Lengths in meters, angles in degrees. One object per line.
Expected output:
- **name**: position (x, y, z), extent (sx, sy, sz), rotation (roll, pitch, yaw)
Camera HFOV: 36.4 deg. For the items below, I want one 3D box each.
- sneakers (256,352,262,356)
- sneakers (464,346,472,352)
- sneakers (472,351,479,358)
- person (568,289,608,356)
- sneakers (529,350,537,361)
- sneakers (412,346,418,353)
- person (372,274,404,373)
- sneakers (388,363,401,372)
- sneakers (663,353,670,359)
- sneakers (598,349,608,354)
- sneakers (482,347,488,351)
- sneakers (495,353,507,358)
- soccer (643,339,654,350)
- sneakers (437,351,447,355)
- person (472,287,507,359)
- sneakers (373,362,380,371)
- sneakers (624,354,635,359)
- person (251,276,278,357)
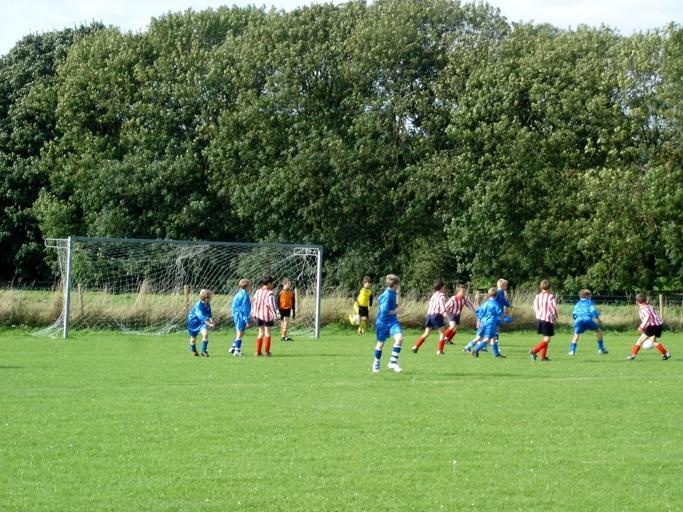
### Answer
- **sneakers**: position (-2.282, 2.779, 29.216), extent (0.191, 0.120, 0.264), rotation (4, -6, -7)
- **sneakers**: position (3.722, 2.751, 30.501), extent (0.154, 0.126, 0.275), rotation (0, -6, 3)
- **sneakers**: position (3.836, 2.832, 29.641), extent (0.118, 0.201, 0.187), rotation (2, -9, -5)
- **person**: position (7.073, 1.922, 29.998), extent (0.910, 2.053, 0.766), rotation (-5, -24, 18)
- **sneakers**: position (5.380, 2.806, 29.186), extent (0.217, 0.343, 0.164), rotation (-9, 2, 28)
- **sneakers**: position (2.123, 2.737, 30.142), extent (0.123, 0.187, 0.176), rotation (0, 3, 33)
- **person**: position (1.317, 2.004, 29.139), extent (1.067, 3.179, 1.175), rotation (-4, 24, -1)
- **sneakers**: position (1.341, 2.849, 26.279), extent (0.147, 0.199, 0.384), rotation (-2, 5, -43)
- **sneakers**: position (9.336, 2.886, 29.856), extent (0.140, 0.186, 0.413), rotation (-13, -16, 10)
- **sneakers**: position (7.809, 2.870, 30.947), extent (0.285, 0.145, 0.109), rotation (-4, 16, -8)
- **sneakers**: position (4.292, 2.804, 31.159), extent (0.180, 0.070, 0.196), rotation (-2, -11, -4)
- **sneakers**: position (4.556, 2.859, 29.740), extent (0.119, 0.157, 0.362), rotation (0, -13, 45)
- **soccer**: position (8.705, 2.512, 29.529), extent (0.209, 0.263, 0.215), rotation (32, 18, -7)
- **sneakers**: position (2.924, 2.870, 30.363), extent (0.250, 0.119, 0.082), rotation (-13, 23, -41)
- **person**: position (4.196, 1.915, 29.659), extent (0.821, 1.958, 1.130), rotation (2, -5, 8)
- **sneakers**: position (0.880, 2.836, 26.327), extent (0.167, 0.204, 0.178), rotation (-3, -4, 36)
- **sneakers**: position (8.173, 2.890, 29.466), extent (0.241, 0.132, 0.088), rotation (-13, 9, 16)
- **person**: position (-2.149, 1.733, 29.386), extent (0.684, 2.251, 0.492), rotation (3, -5, -6)
